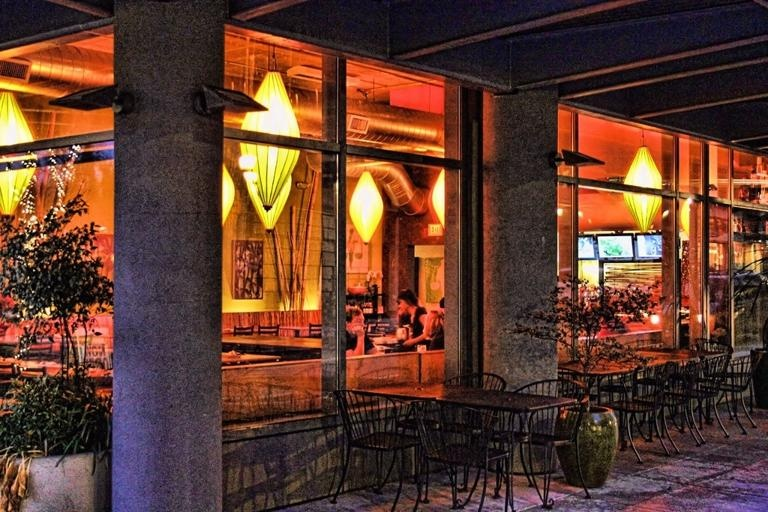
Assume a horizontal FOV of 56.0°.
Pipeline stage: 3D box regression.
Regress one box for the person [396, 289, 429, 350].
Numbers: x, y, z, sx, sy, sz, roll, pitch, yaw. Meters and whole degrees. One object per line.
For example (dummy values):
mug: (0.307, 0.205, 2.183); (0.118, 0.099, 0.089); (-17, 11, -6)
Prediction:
person: (0.324, 0.792, 9.151); (0.489, 0.761, 0.420); (0, 12, 32)
